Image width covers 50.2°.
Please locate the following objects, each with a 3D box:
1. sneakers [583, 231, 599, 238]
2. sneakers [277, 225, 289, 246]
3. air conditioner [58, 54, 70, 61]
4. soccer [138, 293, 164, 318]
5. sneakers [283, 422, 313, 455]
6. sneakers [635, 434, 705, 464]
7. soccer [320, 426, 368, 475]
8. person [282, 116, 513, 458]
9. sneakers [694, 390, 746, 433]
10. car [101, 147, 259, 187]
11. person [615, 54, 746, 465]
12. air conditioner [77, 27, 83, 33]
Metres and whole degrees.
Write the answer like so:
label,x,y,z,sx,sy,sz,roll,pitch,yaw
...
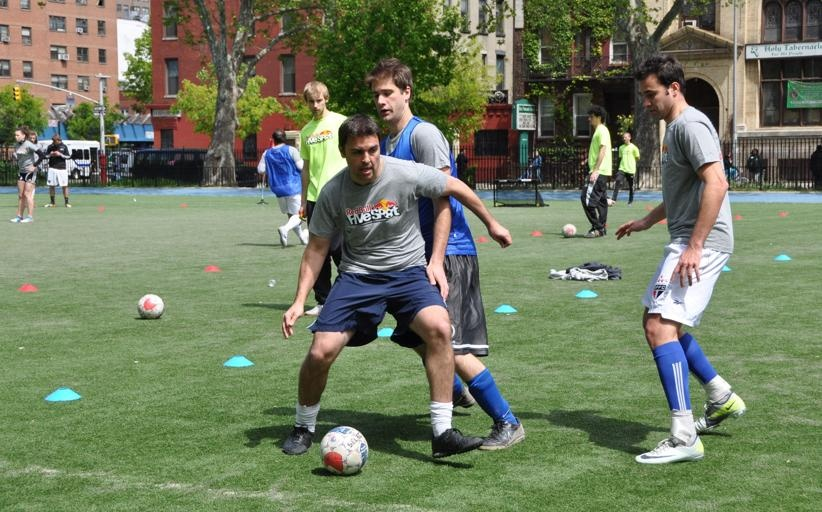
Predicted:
label,x,y,z,sx,sy,sz,roll,pitch,yaw
sneakers,3.443,-0.418,16.758,0.116,0.130,0.319,-3,-3,42
sneakers,-2.266,-0.352,15.574,0.175,0.399,0.149,-29,34,-20
air conditioner,-36.260,-20.865,91.821,1.270,0.836,0.669,2,-4,-35
soccer,-2.905,0.573,9.753,0.271,0.258,0.261,0,-27,-4
sneakers,-0.825,1.356,6.450,0.139,0.118,0.266,4,-2,12
sneakers,1.868,1.382,6.296,0.564,0.196,0.179,-1,-4,-6
soccer,-0.427,1.351,6.210,0.303,0.307,0.321,-9,2,28
person,-0.228,0.219,6.353,1.397,2.443,0.740,1,11,3
sneakers,2.338,1.181,6.685,0.160,0.224,0.476,-7,-26,-45
car,-12.037,-4.525,45.090,8.150,1.644,3.275,6,12,26
person,2.020,-0.026,6.443,0.827,2.859,1.177,3,11,13
air conditioner,-35.089,-24.004,93.074,0.876,0.452,0.592,2,2,9
